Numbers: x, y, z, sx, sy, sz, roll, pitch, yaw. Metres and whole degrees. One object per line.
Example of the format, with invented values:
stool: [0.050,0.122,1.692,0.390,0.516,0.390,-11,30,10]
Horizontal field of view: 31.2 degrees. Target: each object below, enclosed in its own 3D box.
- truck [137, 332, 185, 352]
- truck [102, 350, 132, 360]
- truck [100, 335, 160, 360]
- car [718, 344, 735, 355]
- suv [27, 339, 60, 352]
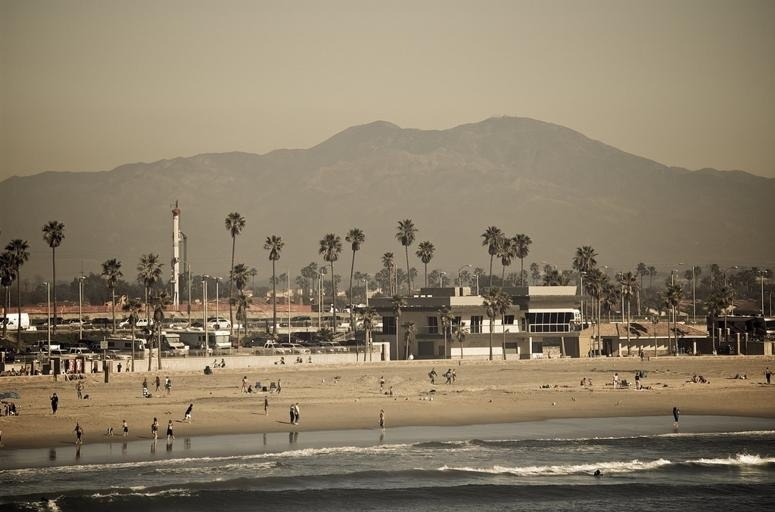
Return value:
truck: [-35.022,14.019,225.484,5.712,2.656,4.005,-3,-3,28]
truck: [-41.384,15.237,213.206,3.900,1.284,1.819,-4,-3,28]
truck: [-40.702,14.773,218.989,9.676,3.685,3.568,1,4,23]
car: [59.900,16.460,245.304,2.816,1.930,1.597,-1,-2,2]
suv: [-56.229,14.561,226.977,3.748,1.821,2.291,-1,-1,16]
